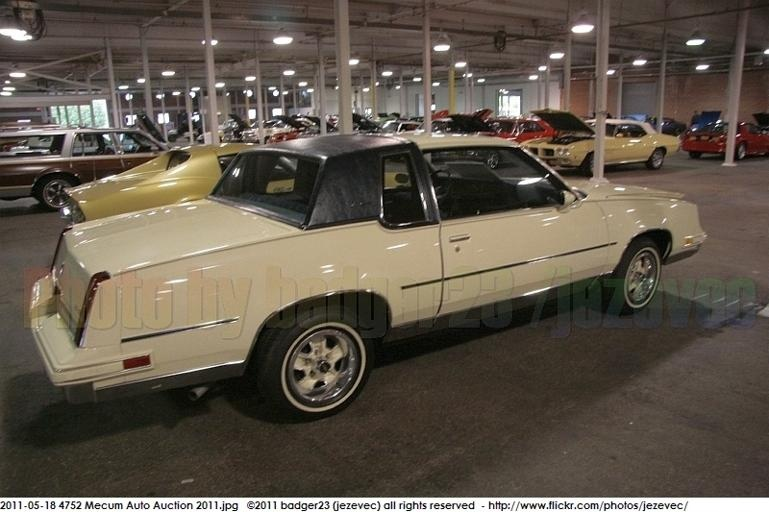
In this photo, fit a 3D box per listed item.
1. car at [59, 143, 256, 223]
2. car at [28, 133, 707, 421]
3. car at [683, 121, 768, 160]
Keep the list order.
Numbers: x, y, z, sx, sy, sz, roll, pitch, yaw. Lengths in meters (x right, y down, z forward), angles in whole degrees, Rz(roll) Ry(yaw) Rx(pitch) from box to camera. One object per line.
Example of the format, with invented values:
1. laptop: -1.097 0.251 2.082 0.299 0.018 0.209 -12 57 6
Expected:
1. car: -3.922 -1.273 8.040 3.642 0.988 1.855 -13 16 -25
2. car: 0.170 -0.149 4.816 5.963 1.677 2.549 -12 20 -26
3. car: 15.450 -4.996 20.835 3.904 1.212 1.734 -13 17 -24
